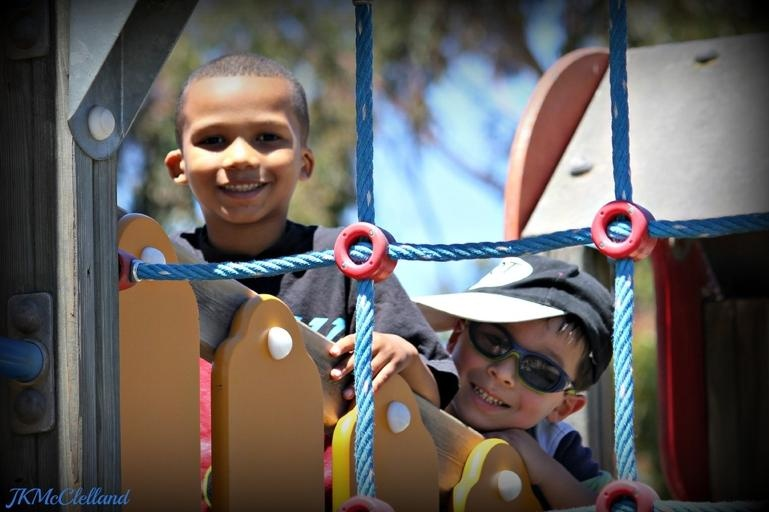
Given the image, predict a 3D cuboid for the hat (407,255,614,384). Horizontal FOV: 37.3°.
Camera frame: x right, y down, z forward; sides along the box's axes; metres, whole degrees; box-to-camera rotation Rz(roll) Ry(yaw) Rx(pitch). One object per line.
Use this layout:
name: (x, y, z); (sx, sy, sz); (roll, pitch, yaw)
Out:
hat: (0.573, 0.215, 4.739); (0.677, 0.392, 0.548); (23, -23, -5)

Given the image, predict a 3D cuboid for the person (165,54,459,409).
person: (-0.302, -0.119, 4.548); (0.746, 1.430, 1.353); (8, -11, -44)
